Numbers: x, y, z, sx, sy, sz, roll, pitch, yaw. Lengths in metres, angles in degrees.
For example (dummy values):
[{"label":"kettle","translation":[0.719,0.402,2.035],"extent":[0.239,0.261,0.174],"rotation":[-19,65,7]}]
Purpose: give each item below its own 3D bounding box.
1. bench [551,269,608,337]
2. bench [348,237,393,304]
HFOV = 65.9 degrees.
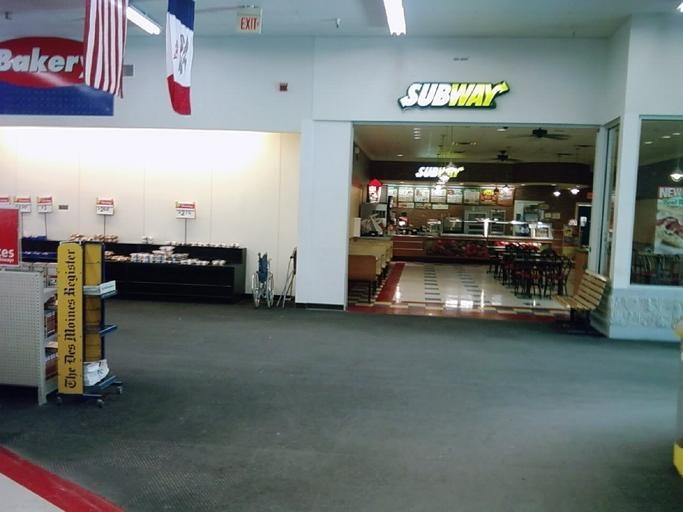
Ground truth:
[{"label":"bench","translation":[3.966,0.721,8.703],"extent":[0.678,0.901,1.140],"rotation":[4,8,19]},{"label":"bench","translation":[0.618,0.296,12.101],"extent":[0.880,1.064,3.532],"rotation":[2,8,2]}]
